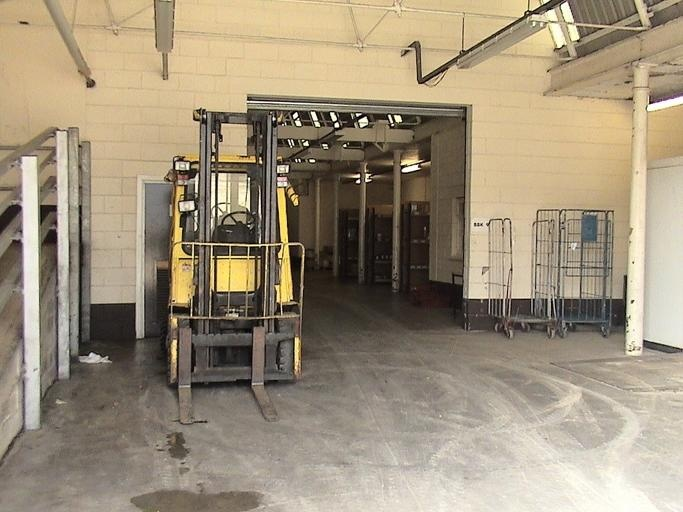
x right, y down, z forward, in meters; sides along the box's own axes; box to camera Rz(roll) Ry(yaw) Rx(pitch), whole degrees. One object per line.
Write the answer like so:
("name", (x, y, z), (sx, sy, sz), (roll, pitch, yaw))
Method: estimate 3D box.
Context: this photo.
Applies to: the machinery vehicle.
("machinery vehicle", (-1.540, -0.031, 8.097), (1.806, 3.458, 3.432), (2, -5, -17))
